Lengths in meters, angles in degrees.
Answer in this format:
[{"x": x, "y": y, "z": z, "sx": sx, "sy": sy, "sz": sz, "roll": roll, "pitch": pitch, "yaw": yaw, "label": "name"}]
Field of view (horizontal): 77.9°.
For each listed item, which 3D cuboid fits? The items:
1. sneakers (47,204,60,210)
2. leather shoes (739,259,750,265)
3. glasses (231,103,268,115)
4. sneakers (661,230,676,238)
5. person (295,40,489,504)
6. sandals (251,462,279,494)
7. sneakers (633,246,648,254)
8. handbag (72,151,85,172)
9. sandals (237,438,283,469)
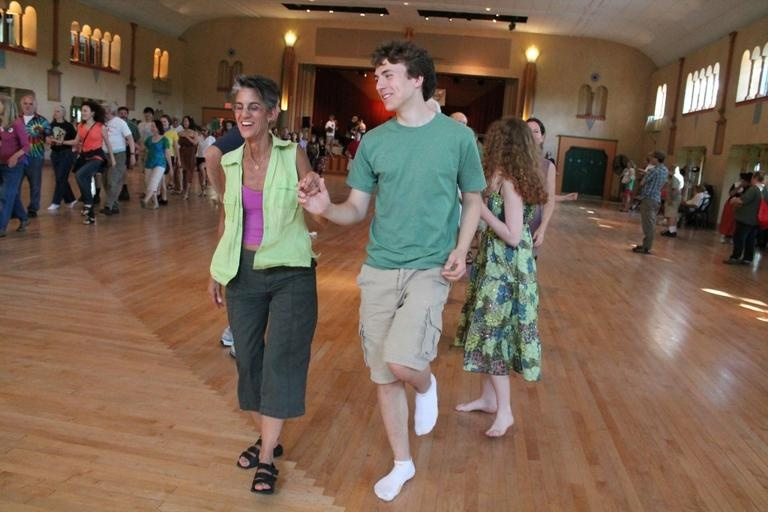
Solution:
[{"x": -5.660, "y": -0.849, "z": 8.226, "sx": 0.129, "sy": 0.099, "sz": 0.304, "roll": 22, "pitch": -4, "yaw": -18, "label": "sneakers"}, {"x": 6.741, "y": 0.095, "z": 8.933, "sx": 0.145, "sy": 0.064, "sz": 0.058, "roll": 14, "pitch": 25, "yaw": 42, "label": "leather shoes"}, {"x": -0.633, "y": -0.693, "z": 2.208, "sx": 0.158, "sy": 0.048, "sz": 0.057, "roll": 7, "pitch": 13, "yaw": 9, "label": "glasses"}, {"x": 7.126, "y": -0.588, "z": 12.034, "sx": 0.186, "sy": 0.178, "sz": 0.417, "roll": 1, "pitch": 16, "yaw": -2, "label": "sneakers"}, {"x": 0.076, "y": 0.069, "z": 2.288, "sx": 0.657, "sy": 2.106, "sz": 0.533, "roll": 8, "pitch": 13, "yaw": 18, "label": "person"}, {"x": -0.559, "y": 1.050, "z": 2.255, "sx": 0.070, "sy": 0.056, "sz": 0.182, "roll": 0, "pitch": -2, "yaw": -5, "label": "sandals"}, {"x": 4.875, "y": -0.137, "z": 9.141, "sx": 0.109, "sy": 0.131, "sz": 0.303, "roll": -3, "pitch": 15, "yaw": -12, "label": "sneakers"}, {"x": -4.989, "y": -1.570, "z": 7.826, "sx": 0.257, "sy": 0.339, "sz": 0.187, "roll": 40, "pitch": 31, "yaw": 25, "label": "handbag"}, {"x": -0.613, "y": 1.004, "z": 2.470, "sx": 0.096, "sy": 0.117, "sz": 0.270, "roll": 2, "pitch": 0, "yaw": 32, "label": "sandals"}]
